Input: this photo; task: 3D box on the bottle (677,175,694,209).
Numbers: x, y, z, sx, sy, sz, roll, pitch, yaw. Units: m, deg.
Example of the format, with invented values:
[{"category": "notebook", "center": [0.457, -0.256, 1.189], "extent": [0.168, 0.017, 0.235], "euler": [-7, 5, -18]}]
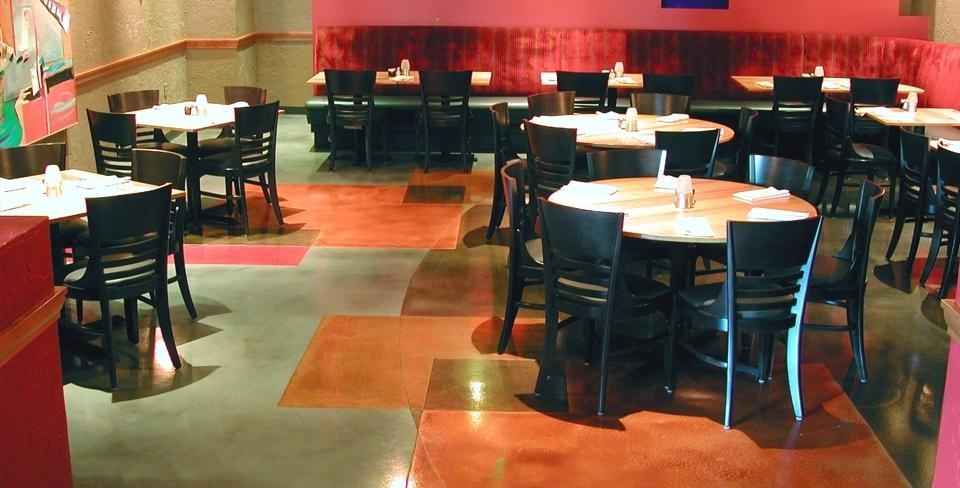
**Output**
[{"category": "bottle", "center": [1.755, -0.447, 6.263], "extent": [0.145, 0.271, 0.228], "euler": [2, 17, 14]}]

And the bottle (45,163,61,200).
[{"category": "bottle", "center": [-3.728, -0.550, 6.419], "extent": [0.148, 0.253, 0.246], "euler": [-12, 19, -28]}]

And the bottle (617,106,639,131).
[{"category": "bottle", "center": [1.603, -1.363, 8.006], "extent": [0.235, 0.270, 0.295], "euler": [-3, 20, -7]}]

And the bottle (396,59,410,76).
[{"category": "bottle", "center": [-1.117, -2.572, 10.721], "extent": [0.190, 0.213, 0.341], "euler": [-4, 15, -6]}]

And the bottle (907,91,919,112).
[{"category": "bottle", "center": [5.196, -1.701, 8.840], "extent": [0.094, 0.217, 0.209], "euler": [9, 20, 33]}]
